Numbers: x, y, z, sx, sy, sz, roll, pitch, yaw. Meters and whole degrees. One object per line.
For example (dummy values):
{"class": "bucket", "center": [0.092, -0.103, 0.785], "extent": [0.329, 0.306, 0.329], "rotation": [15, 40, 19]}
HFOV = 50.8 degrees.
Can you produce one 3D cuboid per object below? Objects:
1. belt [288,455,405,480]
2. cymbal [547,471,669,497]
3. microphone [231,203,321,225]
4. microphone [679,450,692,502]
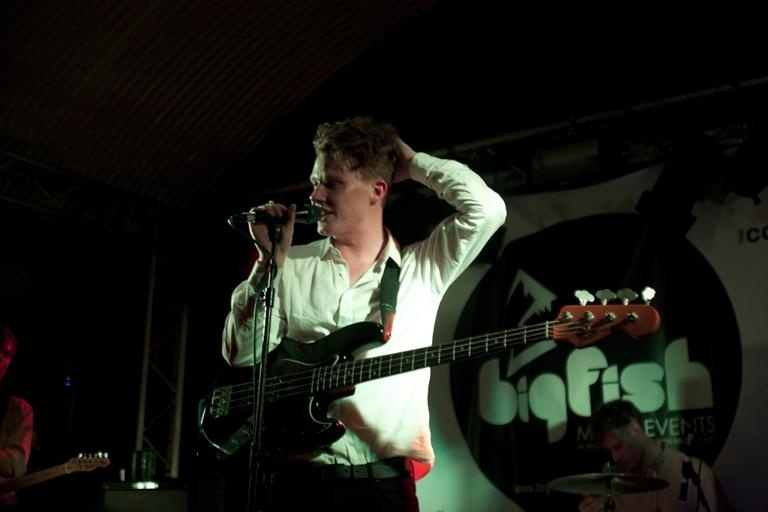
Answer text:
{"class": "belt", "center": [-0.215, 1.393, 5.280], "extent": [0.477, 0.084, 0.261], "rotation": [-5, -15, 9]}
{"class": "cymbal", "center": [1.670, 1.656, 6.004], "extent": [0.786, 0.235, 0.479], "rotation": [2, -4, 16]}
{"class": "microphone", "center": [-0.734, -0.285, 5.395], "extent": [0.612, 0.168, 0.212], "rotation": [0, -16, -8]}
{"class": "microphone", "center": [2.372, 1.731, 6.345], "extent": [0.122, 0.338, 0.047], "rotation": [-6, -16, 15]}
